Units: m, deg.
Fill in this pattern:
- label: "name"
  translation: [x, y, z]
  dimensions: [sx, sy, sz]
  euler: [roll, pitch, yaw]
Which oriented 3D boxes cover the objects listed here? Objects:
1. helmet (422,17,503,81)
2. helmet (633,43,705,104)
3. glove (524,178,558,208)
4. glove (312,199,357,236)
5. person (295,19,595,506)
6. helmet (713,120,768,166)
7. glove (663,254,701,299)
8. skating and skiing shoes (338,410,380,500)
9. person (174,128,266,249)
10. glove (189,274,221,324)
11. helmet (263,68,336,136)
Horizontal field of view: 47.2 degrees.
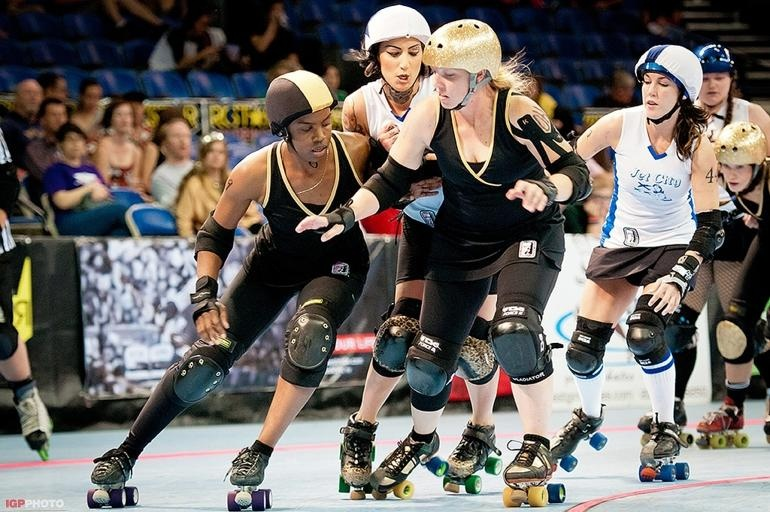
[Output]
- label: "helmet"
  translation: [0.516, -1.398, 5.947]
  dimensions: [0.443, 0.358, 0.342]
  euler: [-22, 22, 1]
- label: "helmet"
  translation: [2.244, -1.441, 6.840]
  dimensions: [0.466, 0.374, 0.464]
  euler: [8, 30, 11]
- label: "glove"
  translation: [1.050, -0.432, 5.716]
  dimensions: [0.161, 0.205, 0.079]
  euler: [1, -12, 6]
- label: "glove"
  translation: [-0.323, -0.248, 5.943]
  dimensions: [0.281, 0.180, 0.119]
  euler: [-32, 8, -27]
- label: "person"
  translation: [0.656, 0.035, 6.095]
  dimensions: [1.474, 3.265, 0.799]
  euler: [0, 3, 21]
- label: "helmet"
  translation: [3.036, -0.956, 7.534]
  dimensions: [0.344, 0.427, 0.438]
  euler: [-2, -8, 19]
- label: "glove"
  translation: [2.187, 0.128, 6.472]
  dimensions: [0.365, 0.215, 0.143]
  euler: [-49, 13, -19]
- label: "skating and skiing shoes"
  translation: [-0.207, 1.452, 6.416]
  dimensions: [0.207, 0.606, 0.255]
  euler: [3, -22, -4]
- label: "person"
  translation: [-1.880, -0.727, 9.610]
  dimensions: [0.920, 1.354, 0.844]
  euler: [6, -23, -22]
- label: "glove"
  translation: [-1.241, 0.301, 6.166]
  dimensions: [0.197, 0.301, 0.117]
  euler: [-5, -22, 25]
- label: "helmet"
  translation: [-0.620, -1.085, 6.247]
  dimensions: [0.489, 0.457, 0.493]
  euler: [-22, 20, -27]
